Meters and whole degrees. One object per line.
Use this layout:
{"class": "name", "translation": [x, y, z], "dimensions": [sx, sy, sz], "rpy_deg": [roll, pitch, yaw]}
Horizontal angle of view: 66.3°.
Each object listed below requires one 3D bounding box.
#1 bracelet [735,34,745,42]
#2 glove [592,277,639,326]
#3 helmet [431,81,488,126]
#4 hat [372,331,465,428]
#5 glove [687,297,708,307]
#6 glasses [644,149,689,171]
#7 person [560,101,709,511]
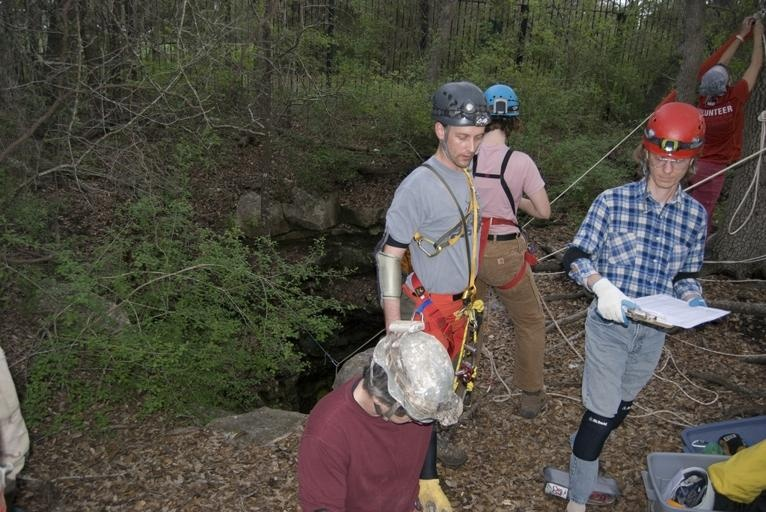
{"class": "bracelet", "translation": [5.090, -3.098, 8.341], "dimensions": [0.090, 0.025, 0.084], "rpy_deg": [31, -3, -37]}
{"class": "glove", "translation": [2.081, 0.411, 5.308], "dimensions": [0.425, 0.321, 0.190], "rpy_deg": [17, 19, 34]}
{"class": "helmet", "translation": [0.753, -1.470, 5.610], "dimensions": [0.499, 0.412, 0.674], "rpy_deg": [-6, 29, -20]}
{"class": "hat", "translation": [0.229, 1.013, 4.575], "dimensions": [0.573, 0.746, 0.293], "rpy_deg": [-31, -1, -33]}
{"class": "glove", "translation": [2.867, 0.431, 5.345], "dimensions": [0.154, 0.070, 0.284], "rpy_deg": [15, 18, 26]}
{"class": "glasses", "translation": [2.603, -0.854, 5.365], "dimensions": [0.212, 0.094, 0.252], "rpy_deg": [13, -5, 25]}
{"class": "person", "translation": [2.344, 0.607, 5.618], "dimensions": [1.132, 4.057, 0.859], "rpy_deg": [-2, 17, -25]}
